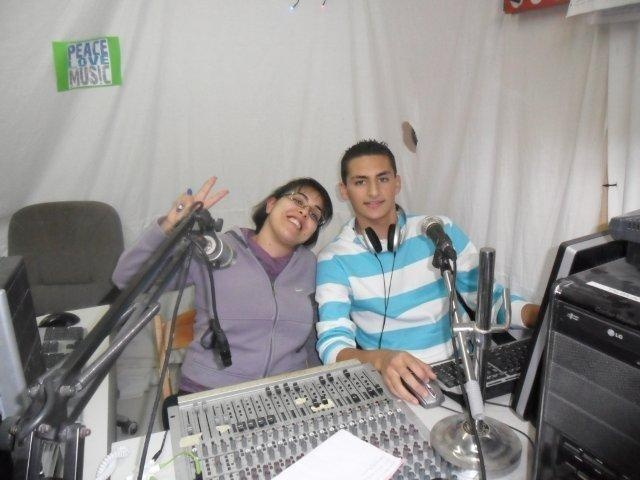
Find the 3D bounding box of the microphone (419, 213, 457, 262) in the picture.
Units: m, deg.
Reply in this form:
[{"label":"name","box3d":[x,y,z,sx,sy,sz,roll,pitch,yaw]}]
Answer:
[{"label":"microphone","box3d":[0.347,0.006,1.412,0.062,0.058,0.179,37,20,-26]}]

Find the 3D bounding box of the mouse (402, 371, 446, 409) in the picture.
[{"label":"mouse","box3d":[0.320,0.451,1.410,0.061,0.037,0.114,-14,39,-30]}]

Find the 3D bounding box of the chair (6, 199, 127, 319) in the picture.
[{"label":"chair","box3d":[-1.282,0.095,2.408,0.388,0.494,0.372,-5,33,-16]}]

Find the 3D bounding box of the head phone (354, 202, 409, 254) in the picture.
[{"label":"head phone","box3d":[0.266,-0.068,2.070,0.208,0.297,0.095,-10,-19,12]}]

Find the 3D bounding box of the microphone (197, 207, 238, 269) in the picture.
[{"label":"microphone","box3d":[-0.322,0.014,1.471,0.077,0.227,0.296,-5,11,-7]}]

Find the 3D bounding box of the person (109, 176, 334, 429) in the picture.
[{"label":"person","box3d":[-0.325,0.172,2.109,0.610,0.921,1.027,5,14,38]}]

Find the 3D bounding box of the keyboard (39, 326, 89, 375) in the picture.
[{"label":"keyboard","box3d":[-0.839,0.341,1.560,0.131,0.067,0.278,-10,12,-30]}]

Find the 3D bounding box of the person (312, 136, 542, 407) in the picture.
[{"label":"person","box3d":[0.384,0.072,2.113,0.723,1.064,0.953,-26,22,-11]}]
